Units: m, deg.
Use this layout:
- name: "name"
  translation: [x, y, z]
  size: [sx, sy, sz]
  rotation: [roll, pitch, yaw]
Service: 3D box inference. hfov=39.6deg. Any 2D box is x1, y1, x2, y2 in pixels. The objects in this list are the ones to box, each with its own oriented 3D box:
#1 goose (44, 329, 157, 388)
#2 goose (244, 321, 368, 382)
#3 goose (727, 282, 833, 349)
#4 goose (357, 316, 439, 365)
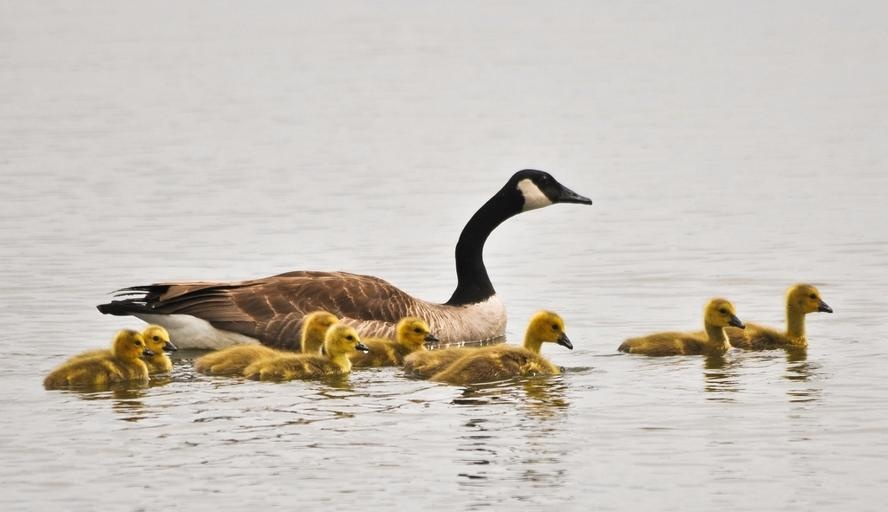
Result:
- name: "goose"
  translation: [-5.938, 1.805, 21.712]
  size: [1.926, 0.821, 0.958]
  rotation: [-3, 9, -18]
- name: "goose"
  translation: [-2.364, 1.705, 21.846]
  size: [1.975, 0.790, 0.540]
  rotation: [2, -1, -21]
- name: "goose"
  translation: [6.514, 1.181, 23.869]
  size: [1.853, 1.272, 0.699]
  rotation: [2, -1, -12]
- name: "goose"
  translation: [-0.966, 1.661, 22.801]
  size: [2.455, 0.972, 0.916]
  rotation: [-1, 1, 13]
